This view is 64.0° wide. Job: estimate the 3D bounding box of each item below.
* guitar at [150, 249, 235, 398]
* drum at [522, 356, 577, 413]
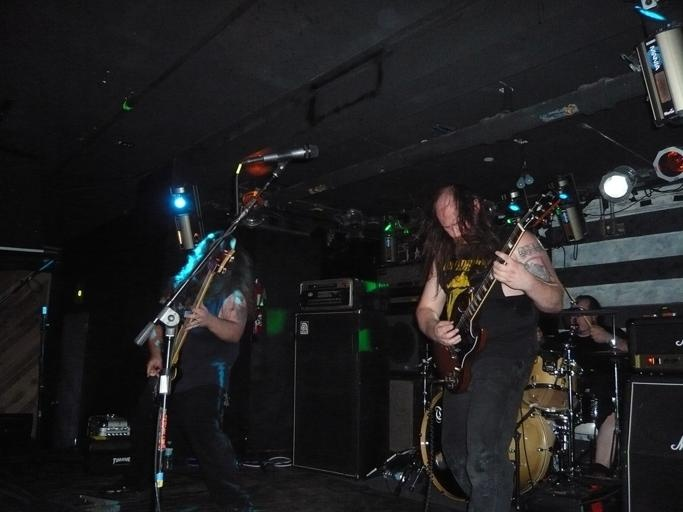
[{"bbox_3d":[-1.112,0.456,4.051,0.557,1.165,0.676,3,-16,-11],"label":"guitar"},{"bbox_3d":[2.193,1.332,5.743,0.438,0.519,0.570,14,-13,-6],"label":"drum"}]
